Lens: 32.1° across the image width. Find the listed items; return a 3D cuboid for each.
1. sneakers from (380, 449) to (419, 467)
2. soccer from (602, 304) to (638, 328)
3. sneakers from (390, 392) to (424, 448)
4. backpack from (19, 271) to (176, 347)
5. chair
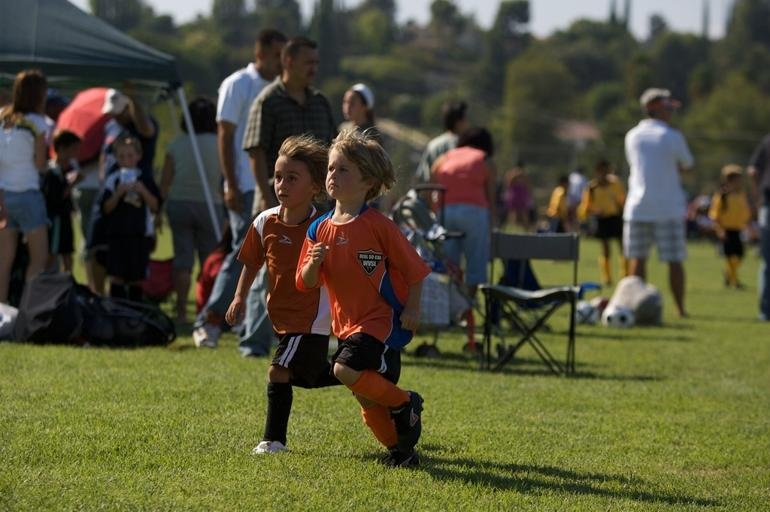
[{"bbox_3d":[0.089,1.515,9.994,0.319,0.144,0.117,4,-9,-9],"label":"sneakers"},{"bbox_3d":[1.945,0.524,11.362,0.132,0.180,0.421,4,-1,-20],"label":"soccer"},{"bbox_3d":[0.145,1.234,9.930,0.200,0.483,0.155,-7,10,-44],"label":"sneakers"},{"bbox_3d":[-2.714,0.562,12.169,0.968,0.453,0.691,14,6,-16],"label":"backpack"},{"bbox_3d":[1.301,0.472,12.144,1.049,1.393,1.019,2,1,-24],"label":"chair"}]
